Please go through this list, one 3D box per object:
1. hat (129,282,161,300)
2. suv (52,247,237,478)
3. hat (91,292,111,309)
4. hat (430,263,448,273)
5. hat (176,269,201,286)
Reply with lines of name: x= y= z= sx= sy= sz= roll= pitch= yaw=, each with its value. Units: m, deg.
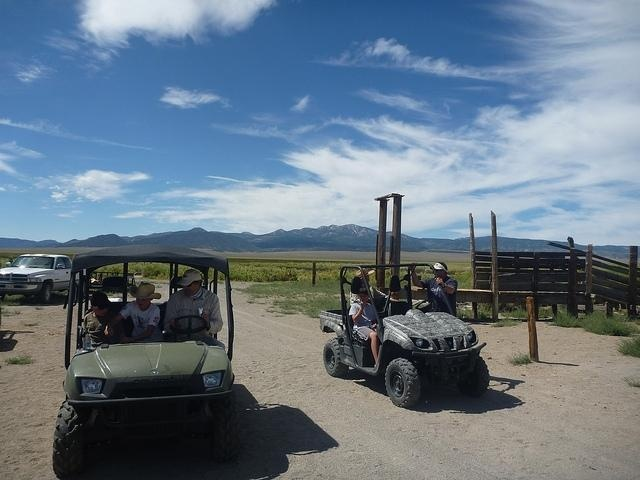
hat: x=-2.766 y=0.875 z=7.450 sx=0.403 sy=0.150 sz=0.430 roll=9 pitch=-1 yaw=22
suv: x=-2.593 y=1.539 z=6.801 sx=2.235 sy=3.099 sz=2.916 roll=2 pitch=-1 yaw=-28
hat: x=-3.475 y=0.968 z=7.285 sx=0.254 sy=0.265 sz=0.311 roll=10 pitch=-9 yaw=-26
hat: x=2.496 y=0.611 z=9.566 sx=0.355 sy=0.154 sz=0.241 roll=9 pitch=-2 yaw=-34
hat: x=-2.084 y=0.614 z=7.383 sx=0.351 sy=0.158 sz=0.249 roll=-2 pitch=2 yaw=-37
